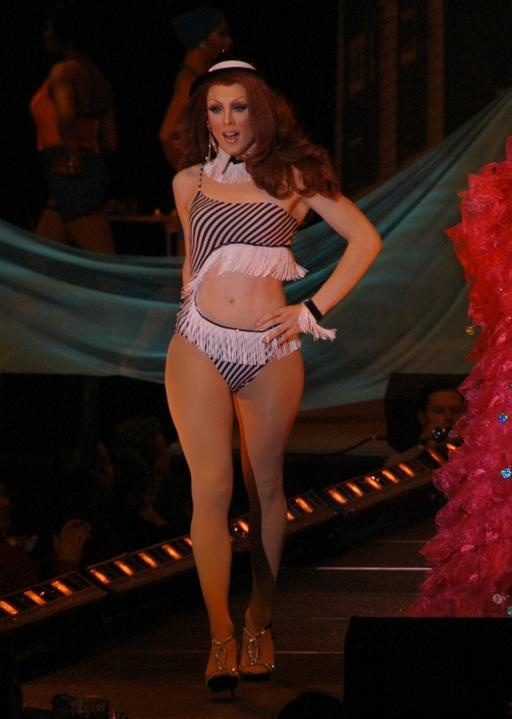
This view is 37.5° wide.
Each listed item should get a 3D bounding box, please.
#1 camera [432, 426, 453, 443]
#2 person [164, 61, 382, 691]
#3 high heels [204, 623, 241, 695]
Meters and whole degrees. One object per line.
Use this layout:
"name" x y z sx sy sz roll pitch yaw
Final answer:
"camera" 0.665 0.268 2.668 0.066 0.041 0.029 -1 -1 -18
"person" 0.025 0.019 2.085 0.535 1.685 0.347 -2 -1 -20
"high heels" -0.073 0.751 1.889 0.074 0.069 0.183 0 22 3
